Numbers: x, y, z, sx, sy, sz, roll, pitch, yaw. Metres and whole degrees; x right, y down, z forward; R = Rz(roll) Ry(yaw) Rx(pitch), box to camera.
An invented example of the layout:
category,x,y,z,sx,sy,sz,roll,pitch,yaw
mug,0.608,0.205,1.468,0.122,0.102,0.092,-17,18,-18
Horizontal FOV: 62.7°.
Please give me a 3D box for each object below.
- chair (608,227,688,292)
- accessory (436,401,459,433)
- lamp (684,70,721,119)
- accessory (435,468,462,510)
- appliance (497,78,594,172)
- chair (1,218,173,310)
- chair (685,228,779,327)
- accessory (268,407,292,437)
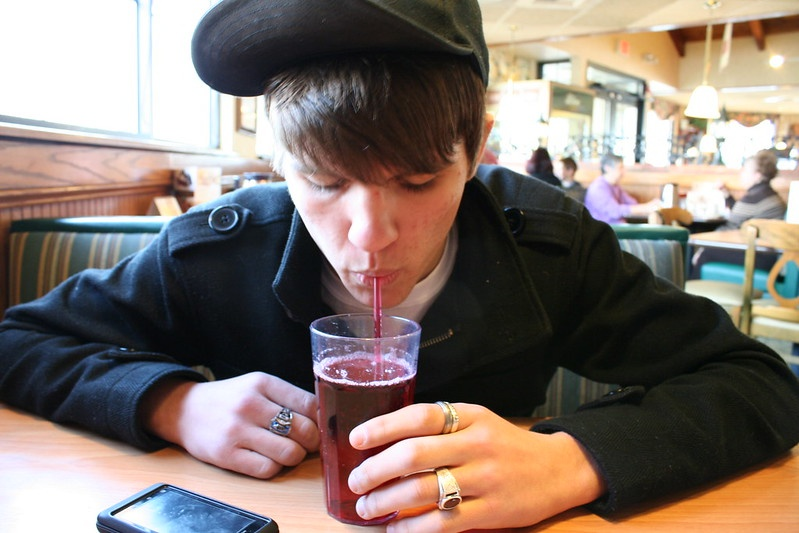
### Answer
category,x,y,z,sx,sy,sz,roll,pitch,yaw
chair,0.889,-0.038,2.381,0.258,0.261,0.261,2,4,12
accessory,0.100,0.318,1.377,0.020,0.048,0.048,-4,12,-18
lamp,3.408,-1.890,7.359,0.416,0.462,0.437,4,1,-32
accessory,0.100,0.458,1.352,0.051,0.081,0.035,-2,13,-5
appliance,2.595,-2.551,11.970,1.123,1.376,1.451,-1,13,-35
chair,-1.137,-0.062,2.452,0.428,0.434,0.415,3,7,1
chair,2.009,0.061,3.898,0.392,0.698,0.447,14,32,39
accessory,-0.274,0.359,1.513,0.043,0.060,0.018,26,-14,10
